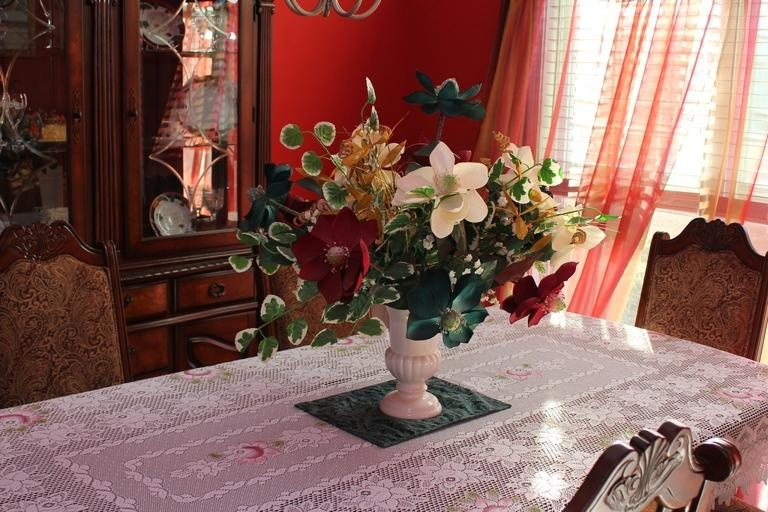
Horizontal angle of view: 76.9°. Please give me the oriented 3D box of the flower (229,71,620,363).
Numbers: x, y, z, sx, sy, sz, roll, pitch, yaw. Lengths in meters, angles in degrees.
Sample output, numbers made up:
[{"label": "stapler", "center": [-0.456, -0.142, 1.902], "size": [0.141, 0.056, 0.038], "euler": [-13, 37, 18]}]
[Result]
[{"label": "flower", "center": [0.040, -0.005, 1.258], "size": [0.933, 0.523, 0.658], "euler": [2, 30, -8]}]
